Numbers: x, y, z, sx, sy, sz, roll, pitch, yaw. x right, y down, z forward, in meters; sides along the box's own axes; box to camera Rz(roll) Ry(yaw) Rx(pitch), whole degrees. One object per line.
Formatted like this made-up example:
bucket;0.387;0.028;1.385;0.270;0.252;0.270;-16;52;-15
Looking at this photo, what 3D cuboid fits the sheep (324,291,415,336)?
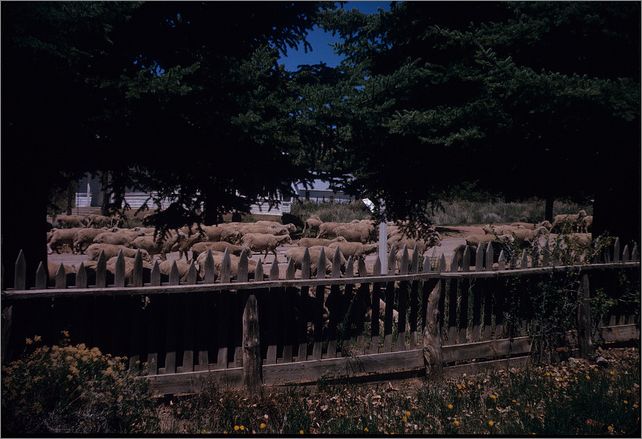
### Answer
sheep;0.924;1.968;13.958;1.332;0.417;0.833;3;7;-12
